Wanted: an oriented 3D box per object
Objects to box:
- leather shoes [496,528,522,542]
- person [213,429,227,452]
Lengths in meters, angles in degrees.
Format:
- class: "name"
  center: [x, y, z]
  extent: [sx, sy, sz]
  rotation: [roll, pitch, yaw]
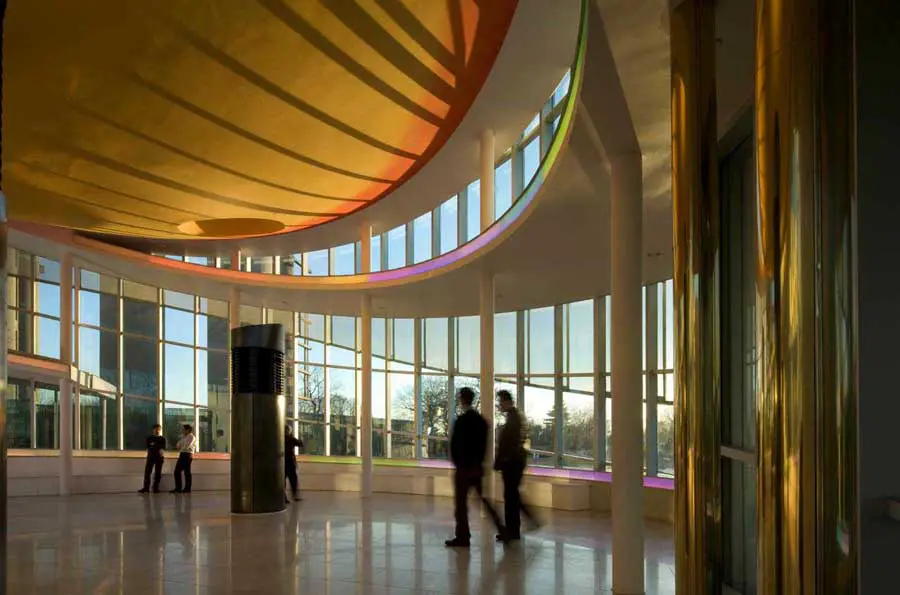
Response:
- class: "leather shoes"
  center: [0.988, 4.080, 15.445]
  extent: [0.480, 0.215, 0.167]
  rotation: [-7, -11, 27]
- class: "person"
  center: [-7.810, 4.915, 31.266]
  extent: [0.285, 0.791, 0.530]
  rotation: [-3, -14, 36]
